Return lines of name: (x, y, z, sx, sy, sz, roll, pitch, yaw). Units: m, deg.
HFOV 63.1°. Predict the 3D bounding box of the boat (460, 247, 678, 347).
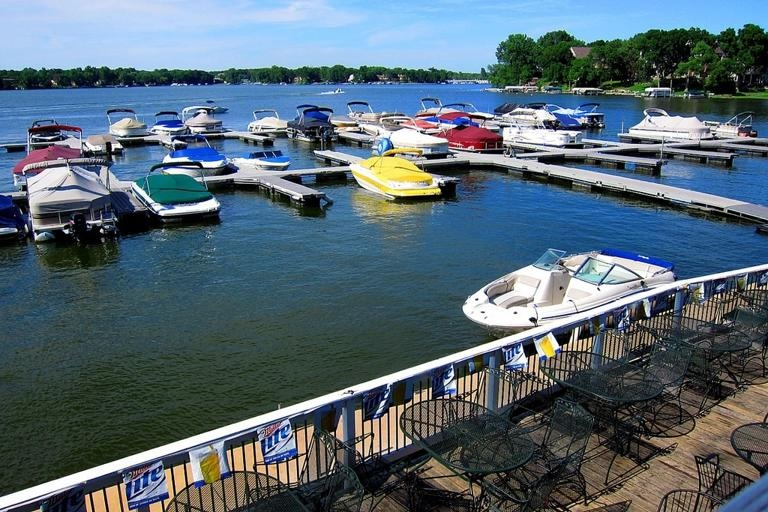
boat: (5.483, 0.925, 18.354, 6.745, 1.642, 3.125, -16, 27, -32)
